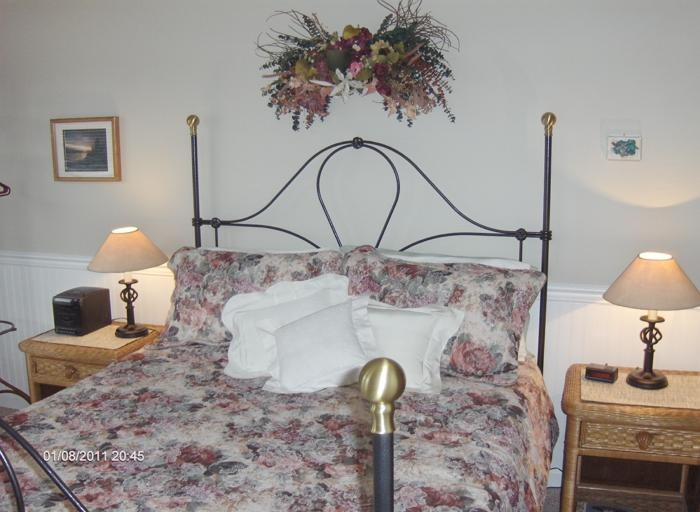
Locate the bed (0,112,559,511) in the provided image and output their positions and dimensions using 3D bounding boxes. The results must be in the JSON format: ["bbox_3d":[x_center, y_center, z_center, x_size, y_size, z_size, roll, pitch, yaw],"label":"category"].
[{"bbox_3d":[-0.234,0.218,2.922,2.394,1.846,0.916,-1,0,12],"label":"bed"}]

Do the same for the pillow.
[{"bbox_3d":[0.032,0.238,2.722,1.846,0.640,0.257,2,-14,10],"label":"pillow"}]

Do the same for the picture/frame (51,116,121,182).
[{"bbox_3d":[-1.760,-0.697,3.898,0.506,0.402,0.025,2,6,16],"label":"picture/frame"}]

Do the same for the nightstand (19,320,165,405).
[{"bbox_3d":[-1.560,0.584,3.658,0.705,0.653,0.528,2,7,19],"label":"nightstand"}]
